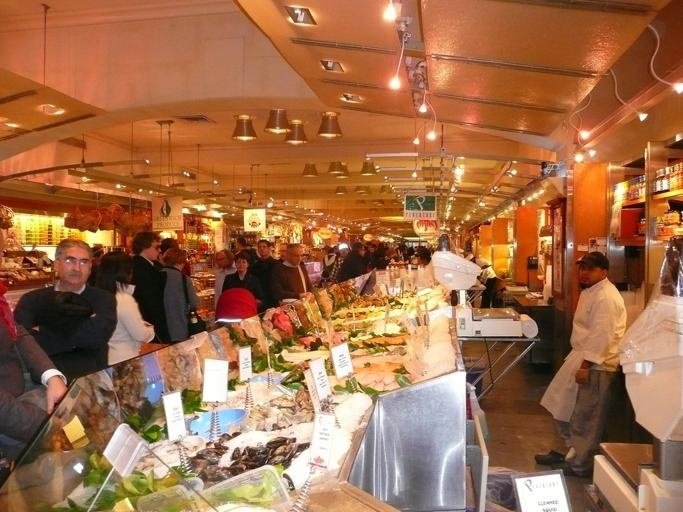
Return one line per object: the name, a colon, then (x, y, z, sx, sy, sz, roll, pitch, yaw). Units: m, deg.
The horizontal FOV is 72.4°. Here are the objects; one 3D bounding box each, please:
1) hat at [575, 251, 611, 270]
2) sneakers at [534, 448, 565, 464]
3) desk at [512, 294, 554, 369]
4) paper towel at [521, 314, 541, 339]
hat: (2.496, 0.056, 4.599, 0.284, 0.140, 0.194, 20, -3, -16)
sneakers: (1.970, 1.909, 4.450, 0.317, 0.112, 0.109, 1, -4, -1)
desk: (2.768, 1.076, 6.664, 0.406, 0.618, 1.492, 0, 2, 10)
paper towel: (1.621, 0.630, 4.076, 0.158, 0.188, 0.375, 11, 6, 21)
